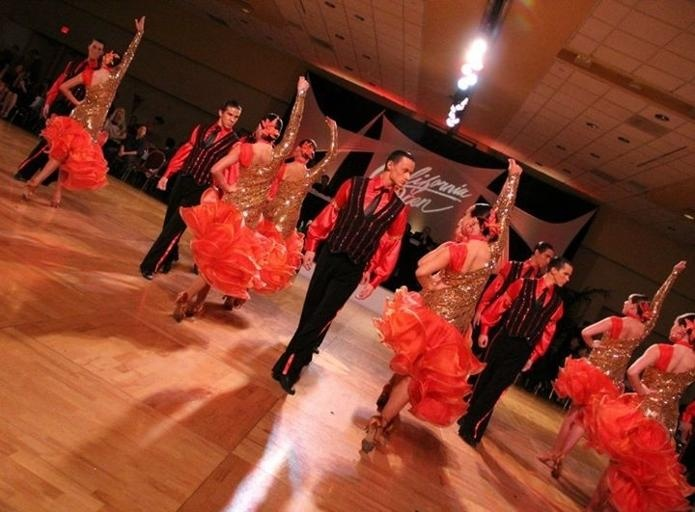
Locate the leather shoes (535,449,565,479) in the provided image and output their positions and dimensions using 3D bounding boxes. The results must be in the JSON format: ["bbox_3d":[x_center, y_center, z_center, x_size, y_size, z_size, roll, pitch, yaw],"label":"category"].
[{"bbox_3d":[1.968,1.973,4.440,0.104,0.236,0.345,1,1,14],"label":"leather shoes"}]

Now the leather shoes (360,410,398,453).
[{"bbox_3d":[0.225,1.253,3.274,0.136,0.173,0.416,11,3,14],"label":"leather shoes"}]

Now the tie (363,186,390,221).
[{"bbox_3d":[0.219,-0.410,3.527,0.089,0.309,0.027,35,-4,-4],"label":"tie"}]

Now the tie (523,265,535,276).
[{"bbox_3d":[1.875,0.167,4.693,0.084,0.033,0.122,-9,22,28],"label":"tie"}]

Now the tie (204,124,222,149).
[{"bbox_3d":[-1.372,-1.211,4.614,0.124,0.206,0.053,21,0,-1],"label":"tie"}]

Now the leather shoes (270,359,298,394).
[{"bbox_3d":[-0.472,0.913,3.499,0.192,0.248,0.103,-28,9,44],"label":"leather shoes"}]
